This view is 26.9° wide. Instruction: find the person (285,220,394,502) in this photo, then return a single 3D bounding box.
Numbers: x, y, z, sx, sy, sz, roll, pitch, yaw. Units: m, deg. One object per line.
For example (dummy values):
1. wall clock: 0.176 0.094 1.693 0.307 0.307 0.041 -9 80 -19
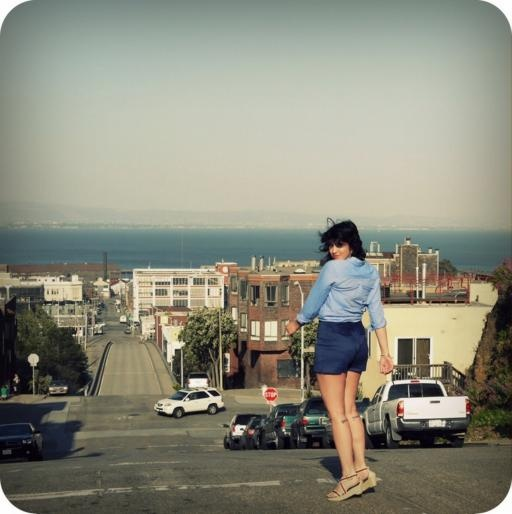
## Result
1. person: 1.056 1.228 12.732 1.176 3.308 0.451 -2 1 -31
